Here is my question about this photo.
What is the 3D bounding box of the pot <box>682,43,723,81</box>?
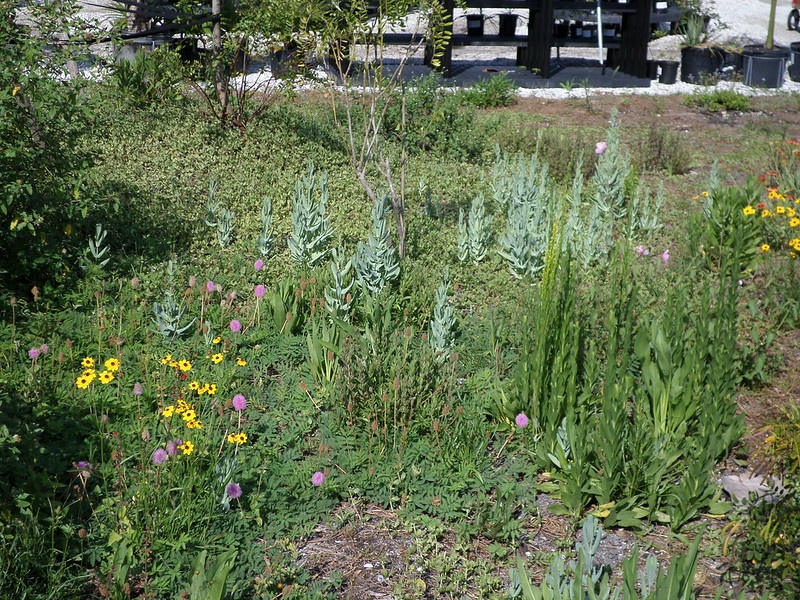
[{"bbox_3d":[6.152,-4.814,14.049,0.752,0.768,0.634,5,14,20],"label":"pot"}]
